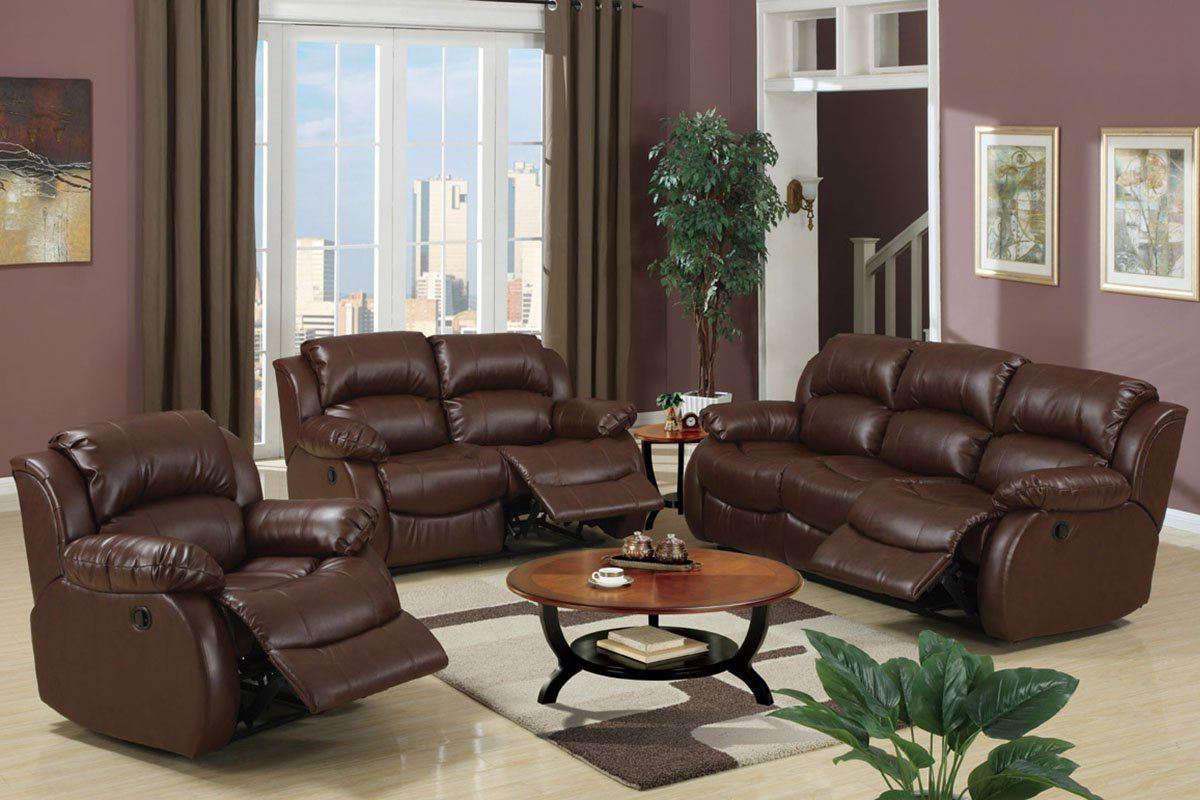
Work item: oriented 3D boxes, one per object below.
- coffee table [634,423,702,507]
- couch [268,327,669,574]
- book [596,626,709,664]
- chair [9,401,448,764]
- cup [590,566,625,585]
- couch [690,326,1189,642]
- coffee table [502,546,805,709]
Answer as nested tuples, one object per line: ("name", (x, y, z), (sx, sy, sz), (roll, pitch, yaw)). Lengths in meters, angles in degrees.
("coffee table", (0.505, 0.480, 6.807), (0.522, 0.464, 0.481), (2, -1, -13))
("couch", (-0.738, 0.270, 6.123), (2.074, 1.078, 1.612), (-4, 17, -31))
("book", (0.218, 1.007, 4.178), (0.468, 0.093, 0.248), (1, 11, 6))
("chair", (-1.589, 0.613, 4.332), (1.763, 1.167, 1.345), (3, 6, 30))
("cup", (0.040, 0.731, 4.202), (0.093, 0.031, 0.081), (-3, 6, -4))
("couch", (1.838, 0.363, 5.280), (1.846, 1.208, 2.688), (-1, 6, -33))
("coffee table", (0.247, 0.989, 4.267), (1.188, 0.386, 1.080), (-1, -4, 6))
